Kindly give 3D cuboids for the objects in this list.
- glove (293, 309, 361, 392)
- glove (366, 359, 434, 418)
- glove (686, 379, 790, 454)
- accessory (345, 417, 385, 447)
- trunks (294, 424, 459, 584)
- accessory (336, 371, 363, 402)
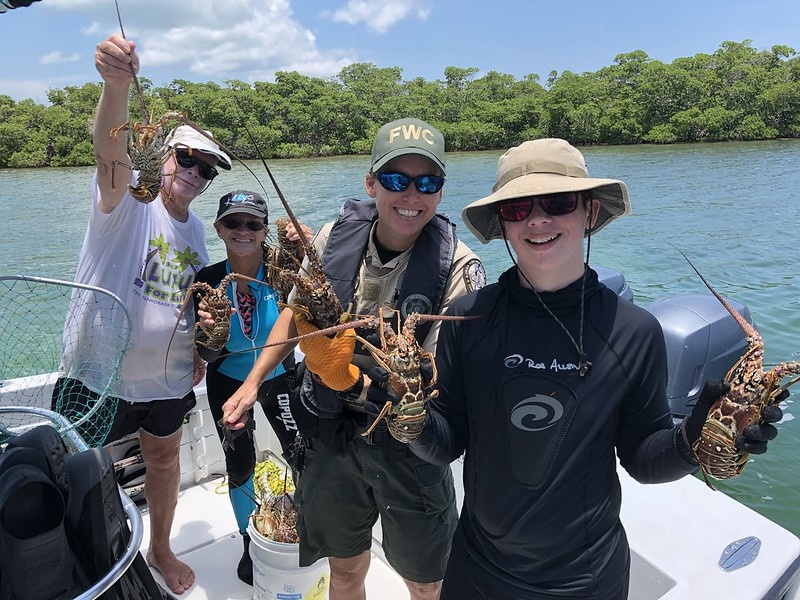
[{"bbox_3d":[-0.332,0.274,2.790,0.298,0.393,0.155,12,44,21],"label":"glove"},{"bbox_3d":[-0.059,0.415,2.681,0.250,0.316,0.121,6,5,4],"label":"glove"},{"bbox_3d":[1.369,0.487,2.350,0.351,0.301,0.229,6,18,26],"label":"glove"},{"bbox_3d":[-0.184,0.779,3.342,0.178,0.234,0.110,4,10,3],"label":"accessory"},{"bbox_3d":[-0.138,1.196,3.412,1.145,1.043,0.531,7,18,8],"label":"trunks"},{"bbox_3d":[-0.263,0.489,3.150,0.177,0.131,0.069,-3,-32,42],"label":"accessory"}]
